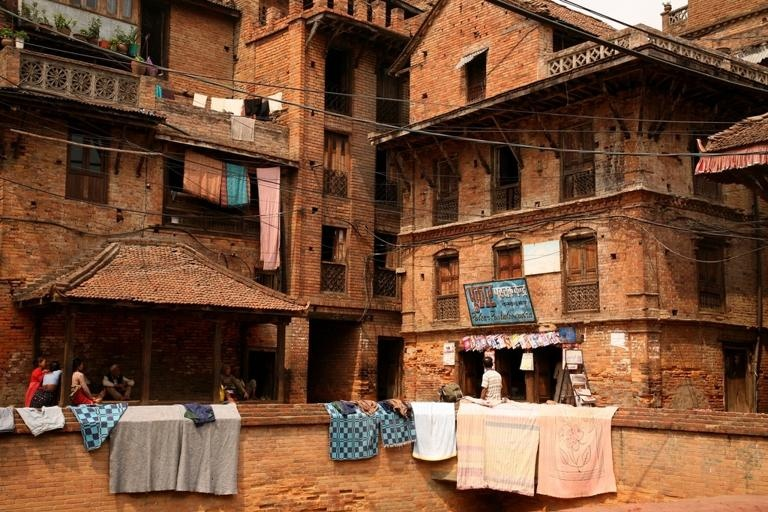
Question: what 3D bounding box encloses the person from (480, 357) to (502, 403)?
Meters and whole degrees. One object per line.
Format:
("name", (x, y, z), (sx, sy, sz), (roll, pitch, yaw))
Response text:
("person", (3.116, 3.742, 24.742), (0.595, 1.253, 0.925), (-1, -12, 5))
